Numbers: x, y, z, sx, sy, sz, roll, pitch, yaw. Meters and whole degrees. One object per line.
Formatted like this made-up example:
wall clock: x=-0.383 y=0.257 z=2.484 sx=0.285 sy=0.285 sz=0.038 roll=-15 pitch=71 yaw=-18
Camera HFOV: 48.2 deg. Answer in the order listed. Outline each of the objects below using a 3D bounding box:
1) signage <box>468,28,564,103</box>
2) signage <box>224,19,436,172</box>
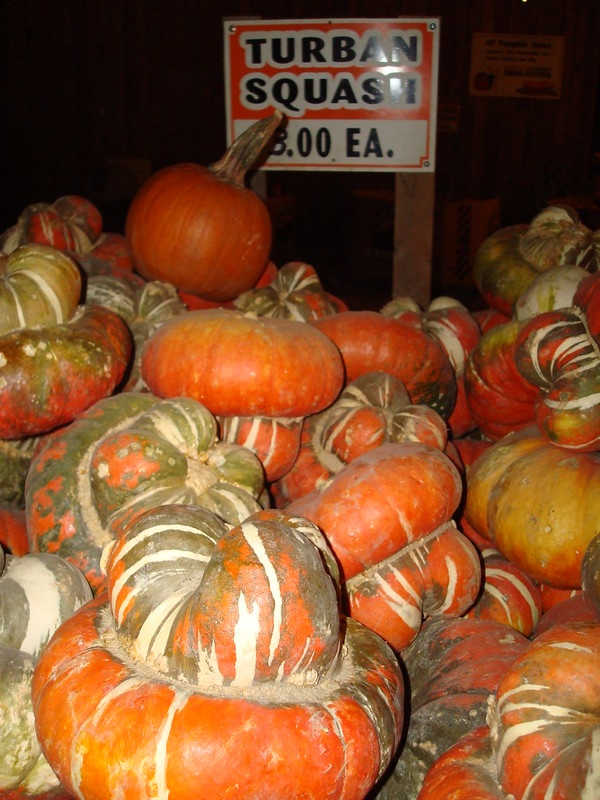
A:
signage: x=1.911 y=-2.962 z=5.952 sx=0.799 sy=0.489 sz=0.551 roll=9 pitch=28 yaw=9
signage: x=0.120 y=-1.024 z=2.233 sx=0.564 sy=0.389 sz=0.021 roll=3 pitch=19 yaw=13
